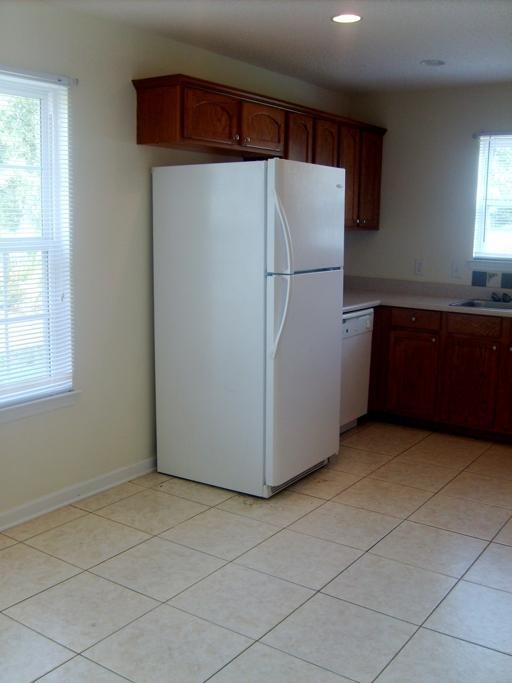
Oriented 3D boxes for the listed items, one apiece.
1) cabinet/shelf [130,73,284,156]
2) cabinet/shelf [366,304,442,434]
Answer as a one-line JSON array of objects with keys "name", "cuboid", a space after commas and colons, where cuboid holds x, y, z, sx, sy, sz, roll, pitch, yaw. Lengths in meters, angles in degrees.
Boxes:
[{"name": "cabinet/shelf", "cuboid": [-0.172, -1.222, 3.002, 0.284, 0.342, 0.941, 16, 21, 37]}, {"name": "cabinet/shelf", "cuboid": [1.246, 0.133, 4.119, 0.513, 0.874, 0.540, -3, -5, -9]}]
